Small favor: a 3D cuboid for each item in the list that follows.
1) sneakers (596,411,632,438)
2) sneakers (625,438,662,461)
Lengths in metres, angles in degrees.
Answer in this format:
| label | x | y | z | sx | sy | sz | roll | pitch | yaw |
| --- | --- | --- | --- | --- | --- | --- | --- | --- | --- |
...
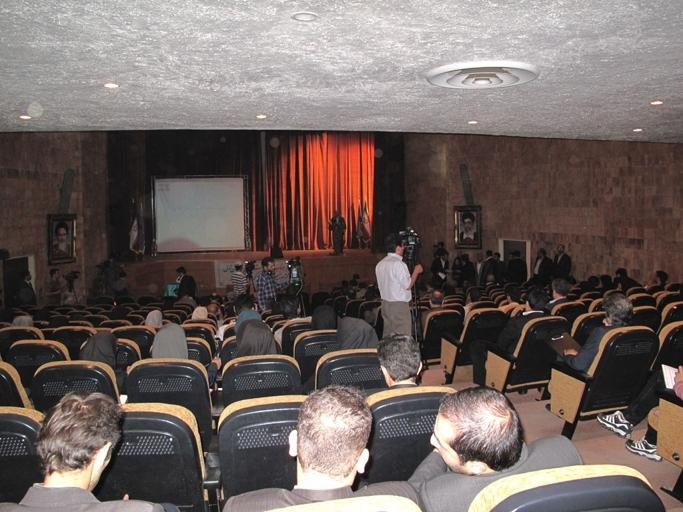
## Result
| label | x | y | z | sx | sy | sz | roll | pitch | yaw |
| --- | --- | --- | --- | --- | --- | --- | --- | --- | --- |
| sneakers | 2.271 | 1.364 | 4.107 | 0.276 | 0.155 | 0.109 | 23 | -5 | 42 |
| sneakers | 2.277 | 1.441 | 3.730 | 0.223 | 0.113 | 0.084 | 18 | 14 | 35 |
